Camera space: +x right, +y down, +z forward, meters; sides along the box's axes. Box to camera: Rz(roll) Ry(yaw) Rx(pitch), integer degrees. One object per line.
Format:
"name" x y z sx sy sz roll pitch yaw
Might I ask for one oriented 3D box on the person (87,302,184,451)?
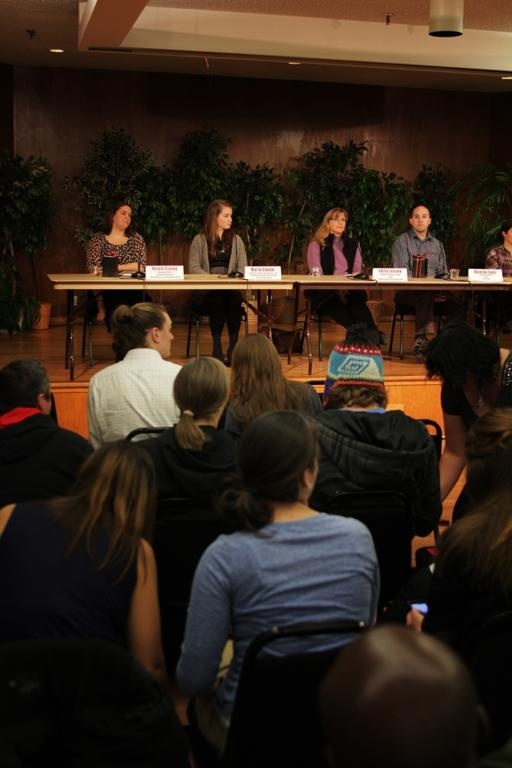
"person" -0.500 0.018 2.808 0.481 0.766 0.438 -3 3 17

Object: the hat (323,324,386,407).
"hat" 0.375 -0.076 2.322 0.234 0.326 0.326 2 -6 -8

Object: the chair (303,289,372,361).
"chair" 0.690 -0.550 5.708 0.664 0.850 0.625 0 1 -28

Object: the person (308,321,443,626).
"person" 0.378 0.340 2.084 0.479 1.035 0.666 2 9 7
